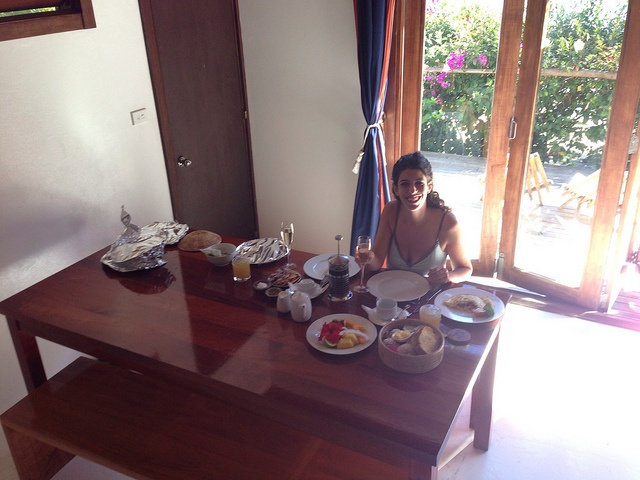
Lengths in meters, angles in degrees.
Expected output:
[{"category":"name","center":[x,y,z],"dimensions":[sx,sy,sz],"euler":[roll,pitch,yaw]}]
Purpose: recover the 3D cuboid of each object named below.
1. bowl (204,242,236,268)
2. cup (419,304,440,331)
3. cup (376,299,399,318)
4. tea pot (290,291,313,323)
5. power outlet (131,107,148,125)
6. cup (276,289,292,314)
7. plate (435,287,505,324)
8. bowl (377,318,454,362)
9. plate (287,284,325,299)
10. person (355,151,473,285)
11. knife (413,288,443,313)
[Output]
[{"category":"bowl","center":[-0.539,0.079,2.597],"dimensions":[0.138,0.066,0.136],"euler":[-1,25,0]},{"category":"cup","center":[0.464,0.320,2.020],"dimensions":[0.092,0.094,0.084],"euler":[0,22,0]},{"category":"cup","center":[0.289,0.302,2.094],"dimensions":[0.067,0.058,0.086],"euler":[-7,27,-5]},{"category":"tea pot","center":[-0.080,0.294,2.165],"dimensions":[0.117,0.122,0.109],"euler":[-2,25,1]},{"category":"power outlet","center":[-1.214,-0.832,3.197],"dimensions":[0.016,0.082,0.116],"euler":[11,27,27]},{"category":"cup","center":[-0.162,0.287,2.183],"dimensions":[0.060,0.078,0.096],"euler":[2,9,5]},{"category":"plate","center":[0.674,0.297,2.173],"dimensions":[0.304,0.055,0.266],"euler":[6,26,17]},{"category":"bowl","center":[0.363,0.404,1.928],"dimensions":[0.188,0.067,0.179],"euler":[-2,21,1]},{"category":"plate","center":[-0.064,0.234,2.292],"dimensions":[0.100,0.040,0.090],"euler":[0,16,36]},{"category":"person","center":[0.590,-0.161,3.003],"dimensions":[0.702,0.963,0.673],"euler":[11,32,31]},{"category":"knife","center":[0.488,0.282,2.182],"dimensions":[0.022,0.023,0.195],"euler":[15,29,26]}]
